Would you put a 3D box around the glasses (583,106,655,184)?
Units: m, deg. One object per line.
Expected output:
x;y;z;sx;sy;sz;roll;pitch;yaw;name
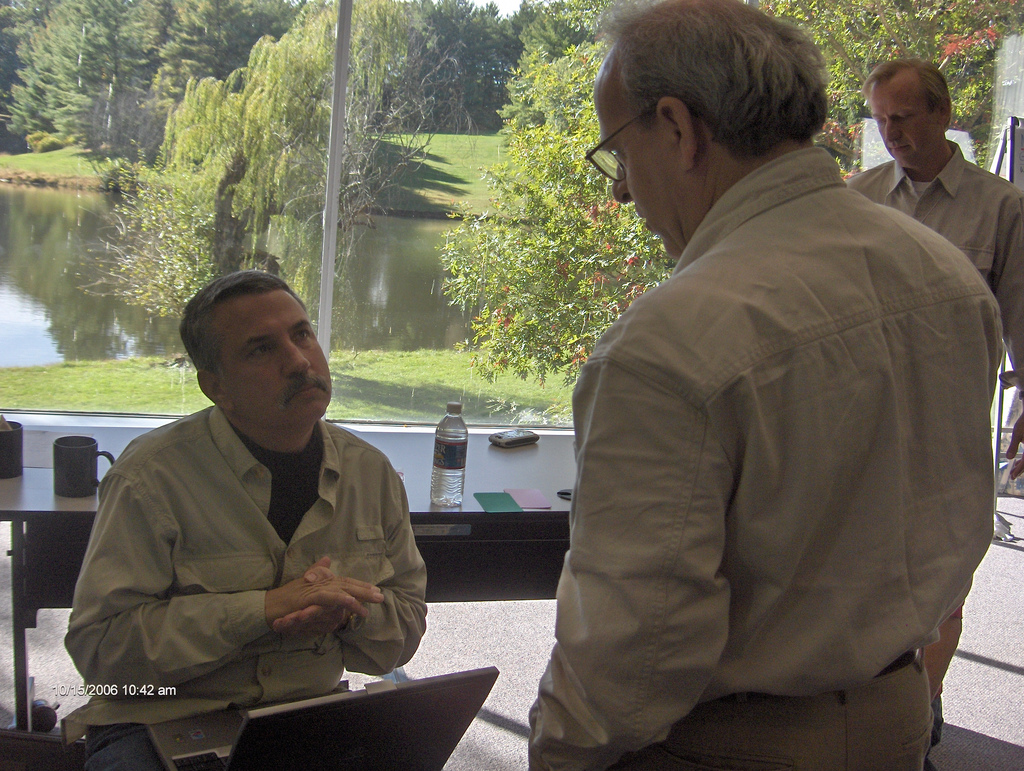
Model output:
0.185;-0.421;1.620;0.095;0.028;0.093;-42;3;9;glasses

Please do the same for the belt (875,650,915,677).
0.653;0.472;1.594;0.047;0.051;0.048;-1;3;-12;belt
